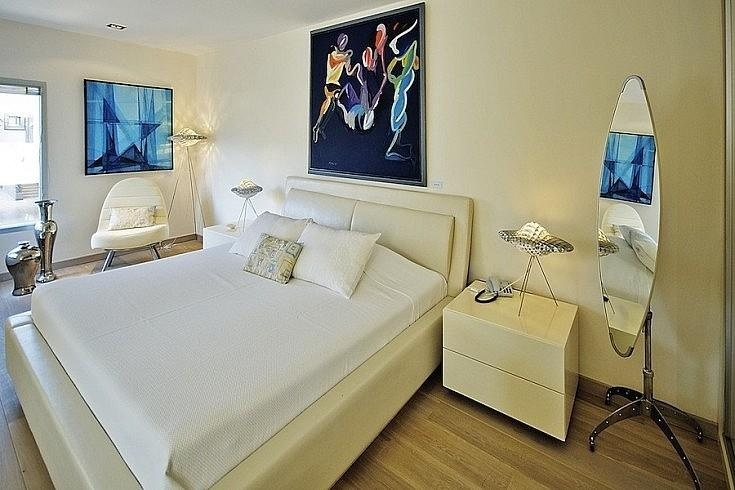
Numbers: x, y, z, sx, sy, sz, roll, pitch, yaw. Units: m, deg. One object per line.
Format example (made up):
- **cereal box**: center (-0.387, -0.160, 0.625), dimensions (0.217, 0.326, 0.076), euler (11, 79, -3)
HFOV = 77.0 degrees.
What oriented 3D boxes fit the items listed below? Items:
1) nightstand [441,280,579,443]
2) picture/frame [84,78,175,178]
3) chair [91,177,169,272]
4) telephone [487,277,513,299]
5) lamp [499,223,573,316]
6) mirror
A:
- **nightstand**: center (1.189, 0.654, 3.682), dimensions (1.191, 0.937, 0.844), euler (6, 8, 37)
- **picture/frame**: center (-3.068, -1.524, 5.877), dimensions (0.054, 1.341, 1.194), euler (14, 16, 41)
- **chair**: center (-2.913, -0.273, 5.813), dimensions (0.861, 1.339, 1.186), euler (-2, 8, -25)
- **telephone**: center (1.092, 0.366, 3.816), dimensions (0.163, 0.059, 0.187), euler (-3, 25, 11)
- **lamp**: center (1.381, 0.202, 3.720), dimensions (0.360, 0.708, 0.620), euler (0, 5, -39)
- **mirror**: center (1.824, 0.168, 3.137), dimensions (0.720, 2.544, 0.385), euler (15, 19, 42)
